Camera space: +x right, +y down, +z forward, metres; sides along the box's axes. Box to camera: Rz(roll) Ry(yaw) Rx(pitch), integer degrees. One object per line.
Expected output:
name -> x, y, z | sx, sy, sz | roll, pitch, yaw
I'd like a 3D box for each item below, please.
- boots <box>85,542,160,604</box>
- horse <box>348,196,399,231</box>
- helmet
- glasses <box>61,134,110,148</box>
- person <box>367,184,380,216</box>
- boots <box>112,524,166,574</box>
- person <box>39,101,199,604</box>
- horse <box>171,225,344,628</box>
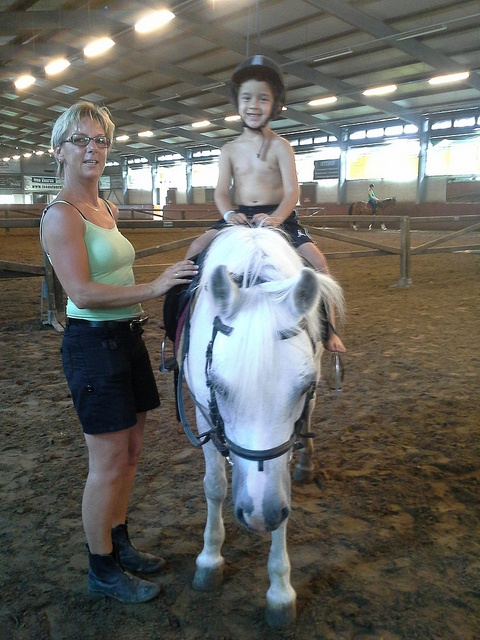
boots -> -0.335, 0.829, 1.545 | 0.325, 0.199, 0.109 | 2, 4, -2
horse -> 4.990, -3.994, 17.394 | 1.614, 1.083, 1.779 | 2, 13, 16
helmet -> 0.073, -0.947, 1.887 | 0.222, 0.233, 0.313 | -2, 13, 0
glasses -> -0.483, -0.555, 1.439 | 0.142, 0.039, 0.073 | -6, 13, -22
person -> 5.082, -4.622, 17.557 | 0.379, 1.180, 2.017 | 2, 13, 15
boots -> -0.373, 0.809, 1.645 | 0.236, 0.153, 0.073 | -3, 4, 25
person -> -0.393, 0.096, 1.525 | 0.448, 1.606, 0.470 | -3, 14, -7
horse -> 0.085, 0.339, 1.339 | 0.503, 1.200, 0.591 | -4, 13, -8
